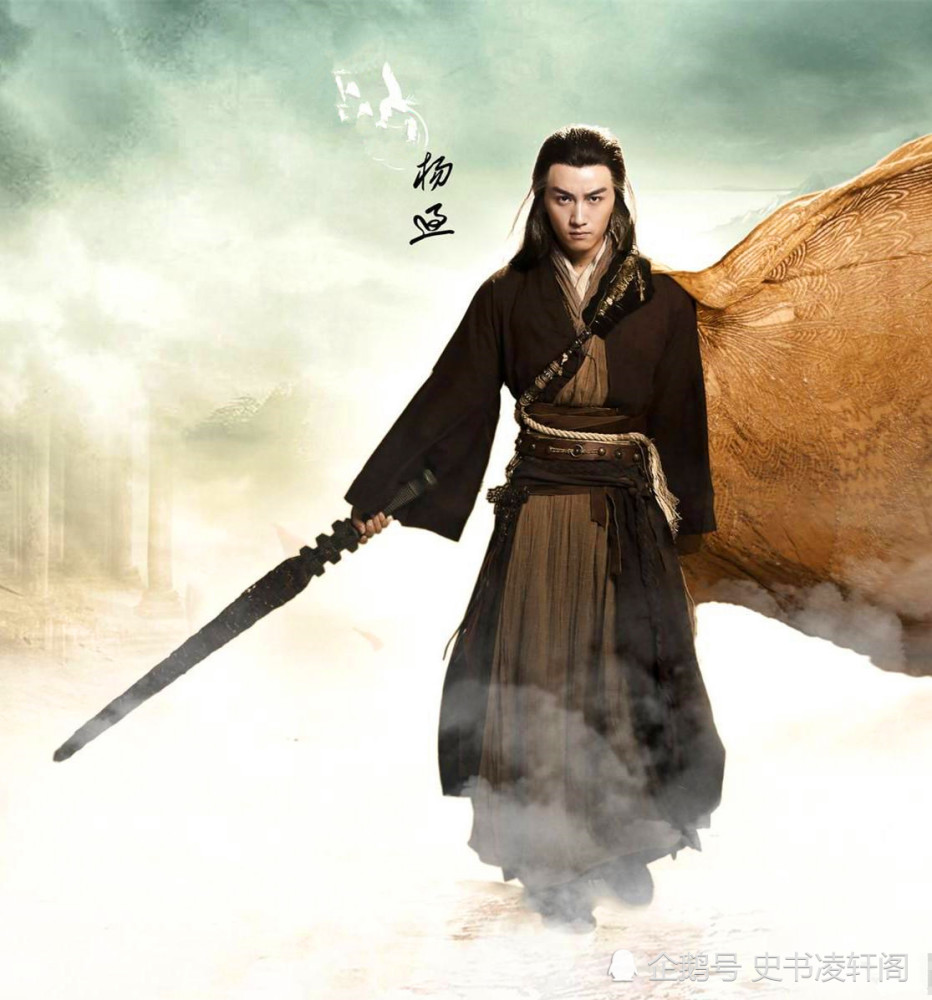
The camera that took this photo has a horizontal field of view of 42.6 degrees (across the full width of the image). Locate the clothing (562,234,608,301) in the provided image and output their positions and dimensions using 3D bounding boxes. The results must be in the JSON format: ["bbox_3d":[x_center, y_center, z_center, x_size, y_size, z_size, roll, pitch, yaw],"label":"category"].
[{"bbox_3d":[0.388,-0.752,3.937,0.242,0.218,0.069,0,-3,2],"label":"clothing"}]
